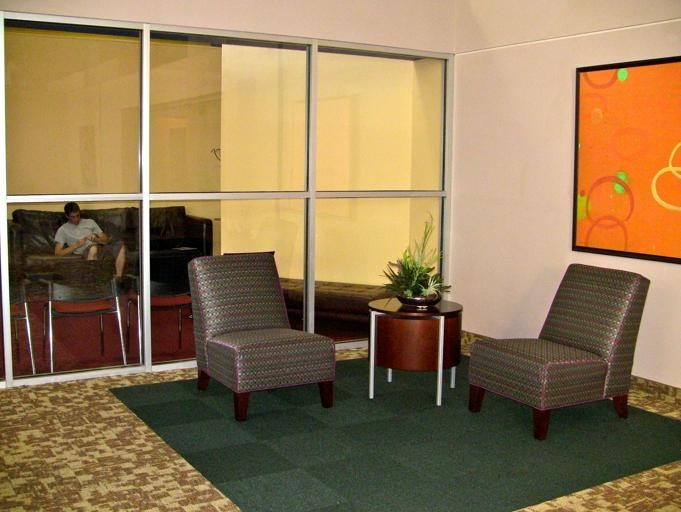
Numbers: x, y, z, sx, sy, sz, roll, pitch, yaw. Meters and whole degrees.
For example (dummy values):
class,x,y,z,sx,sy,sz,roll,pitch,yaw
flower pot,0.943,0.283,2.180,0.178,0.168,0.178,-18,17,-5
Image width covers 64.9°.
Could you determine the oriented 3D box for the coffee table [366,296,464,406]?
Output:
class,x,y,z,sx,sy,sz,roll,pitch,yaw
coffee table,0.611,0.699,4.555,0.844,0.732,0.847,-4,6,-42
